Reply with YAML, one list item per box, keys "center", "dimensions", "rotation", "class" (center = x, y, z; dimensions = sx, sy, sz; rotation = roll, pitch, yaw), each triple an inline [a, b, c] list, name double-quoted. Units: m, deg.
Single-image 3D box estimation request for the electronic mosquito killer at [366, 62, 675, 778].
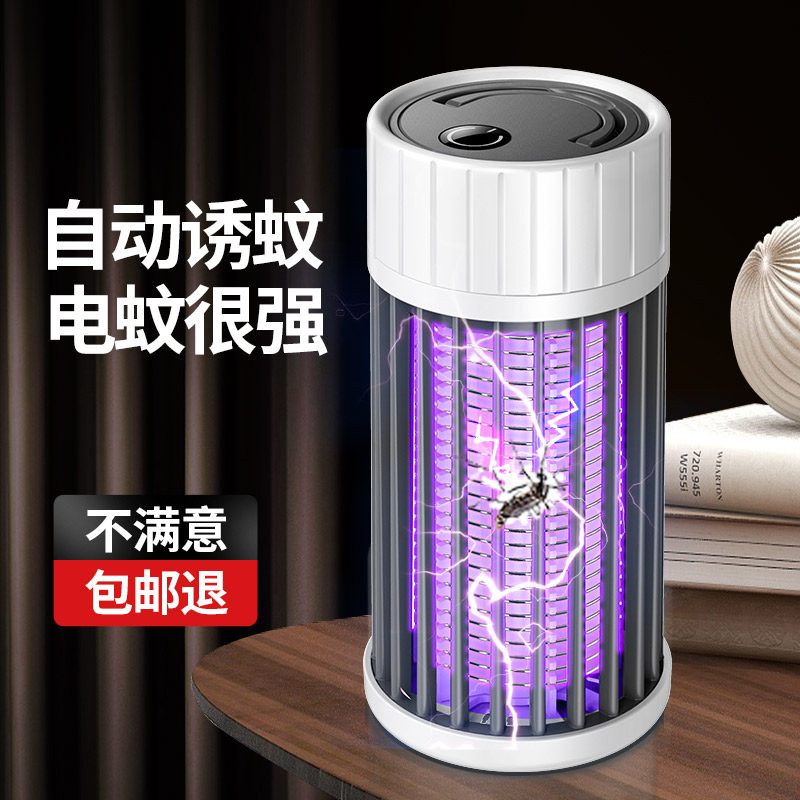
- center: [0.073, 0.005, 0.727]
  dimensions: [0.199, 0.390, 0.174]
  rotation: [-1, 14, -1]
  class: "electronic mosquito killer"
